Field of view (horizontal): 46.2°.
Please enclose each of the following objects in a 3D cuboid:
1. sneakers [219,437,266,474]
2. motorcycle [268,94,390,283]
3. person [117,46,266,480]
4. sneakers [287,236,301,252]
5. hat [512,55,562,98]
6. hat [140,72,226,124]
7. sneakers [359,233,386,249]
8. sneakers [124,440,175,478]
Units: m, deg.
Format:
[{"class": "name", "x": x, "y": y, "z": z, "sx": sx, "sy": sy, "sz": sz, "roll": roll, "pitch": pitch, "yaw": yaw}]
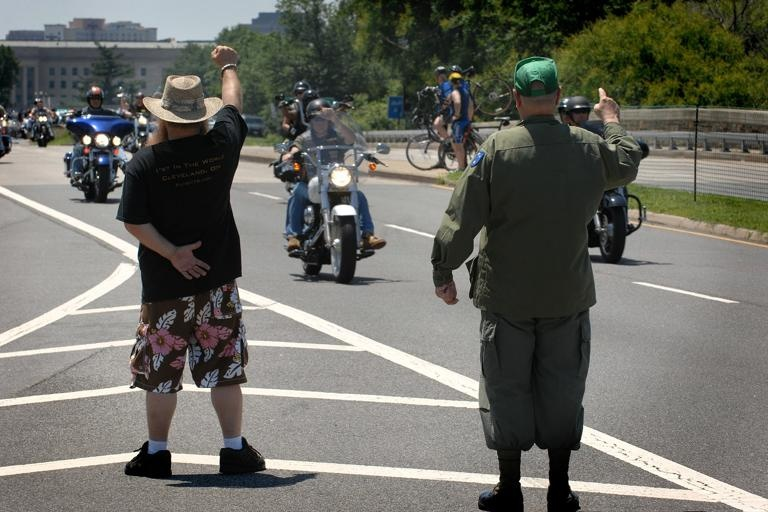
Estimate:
[{"class": "sneakers", "x": -1.040, "y": 1.473, "z": 6.619, "sx": 0.340, "sy": 0.230, "sz": 0.194, "roll": -2, "pitch": 5, "yaw": -9}, {"class": "motorcycle", "x": -0.783, "y": -0.873, "z": 12.301, "sx": 1.116, "sy": 2.460, "sz": 1.525, "roll": -9, "pitch": 15, "yaw": -42}, {"class": "person", "x": -1.425, "y": 0.142, "z": 6.497, "sx": 0.986, "sy": 2.813, "sz": 0.764, "roll": -3, "pitch": 11, "yaw": -18}, {"class": "sneakers", "x": -1.243, "y": -0.167, "z": 12.289, "sx": 0.188, "sy": 0.194, "sz": 0.259, "roll": -1, "pitch": 12, "yaw": -8}, {"class": "hat", "x": 0.982, "y": -1.252, "z": 5.990, "sx": 0.248, "sy": 0.111, "sz": 0.326, "roll": -29, "pitch": 34, "yaw": -28}, {"class": "hat", "x": -1.456, "y": -1.165, "z": 6.458, "sx": 0.536, "sy": 0.229, "sz": 0.618, "roll": -10, "pitch": 27, "yaw": -29}, {"class": "sneakers", "x": -0.172, "y": -0.189, "z": 12.222, "sx": 0.399, "sy": 0.181, "sz": 0.139, "roll": 1, "pitch": 1, "yaw": 37}, {"class": "sneakers", "x": -1.718, "y": 1.474, "z": 6.509, "sx": 0.393, "sy": 0.251, "sz": 0.184, "roll": -2, "pitch": -6, "yaw": 26}]
